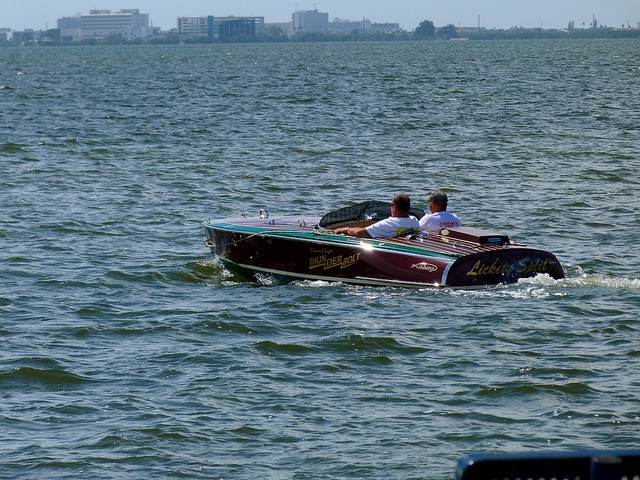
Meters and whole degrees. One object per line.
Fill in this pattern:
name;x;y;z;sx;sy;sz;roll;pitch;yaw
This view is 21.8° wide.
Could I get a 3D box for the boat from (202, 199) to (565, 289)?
boat;1.521;0.318;41.045;9.587;1.447;2.699;5;6;25
